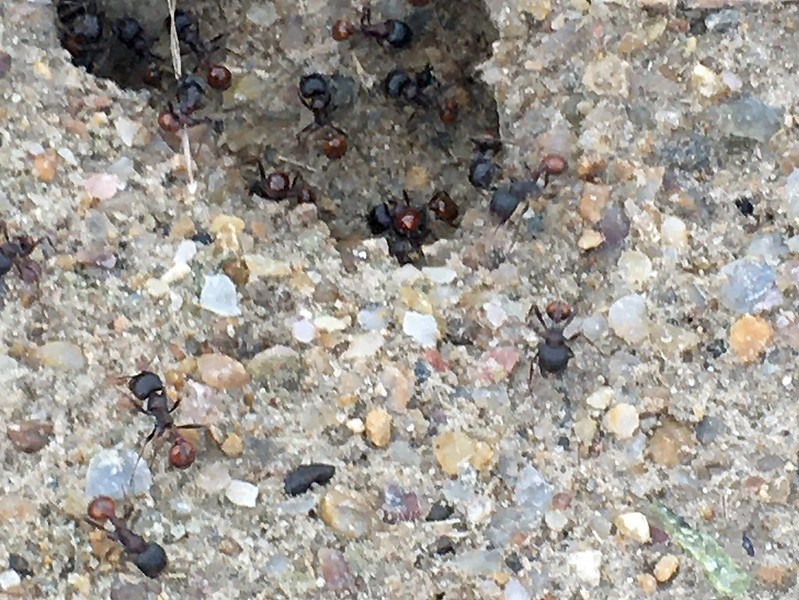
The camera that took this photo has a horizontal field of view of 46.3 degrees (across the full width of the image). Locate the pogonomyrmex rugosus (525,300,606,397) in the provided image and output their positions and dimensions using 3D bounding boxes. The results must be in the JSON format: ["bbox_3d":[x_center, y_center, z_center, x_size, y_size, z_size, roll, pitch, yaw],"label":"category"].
[{"bbox_3d":[0.594,0.162,3.560,0.243,0.171,0.390,8,55,7],"label":"pogonomyrmex rugosus"}]

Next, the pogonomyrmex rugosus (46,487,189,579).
[{"bbox_3d":[-0.965,0.835,3.254,0.302,0.114,0.267,42,74,8],"label":"pogonomyrmex rugosus"}]
